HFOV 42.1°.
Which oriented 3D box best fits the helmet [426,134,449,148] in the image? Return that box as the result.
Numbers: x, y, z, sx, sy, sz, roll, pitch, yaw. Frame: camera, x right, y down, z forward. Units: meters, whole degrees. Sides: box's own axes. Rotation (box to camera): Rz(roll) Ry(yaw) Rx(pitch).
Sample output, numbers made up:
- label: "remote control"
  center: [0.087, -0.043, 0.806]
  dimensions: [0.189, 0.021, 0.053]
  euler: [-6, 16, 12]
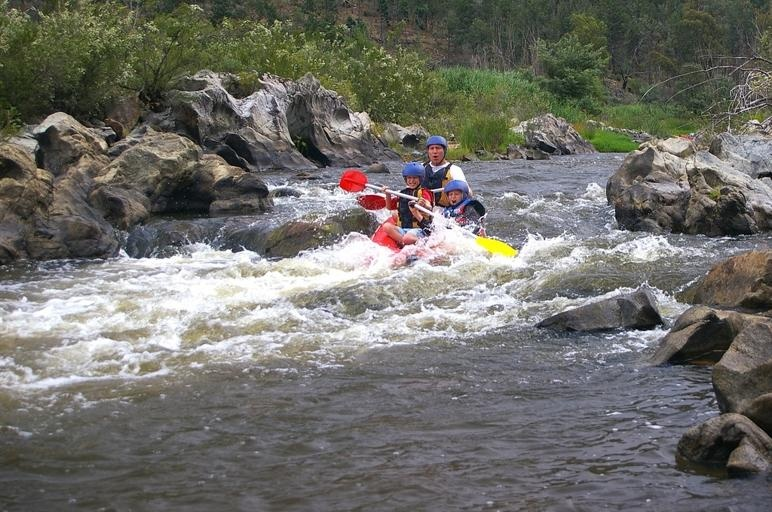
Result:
- label: "helmet"
  center: [0.942, -2.081, 18.450]
  dimensions: [0.404, 0.332, 0.479]
  euler: [1, 10, 6]

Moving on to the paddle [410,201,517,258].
- label: "paddle"
  center: [1.308, -0.438, 17.780]
  dimensions: [2.309, 0.264, 0.119]
  euler: [28, -2, 25]

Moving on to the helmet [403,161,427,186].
- label: "helmet"
  center: [0.527, -1.523, 18.243]
  dimensions: [0.396, 0.393, 0.463]
  euler: [1, 14, 4]
